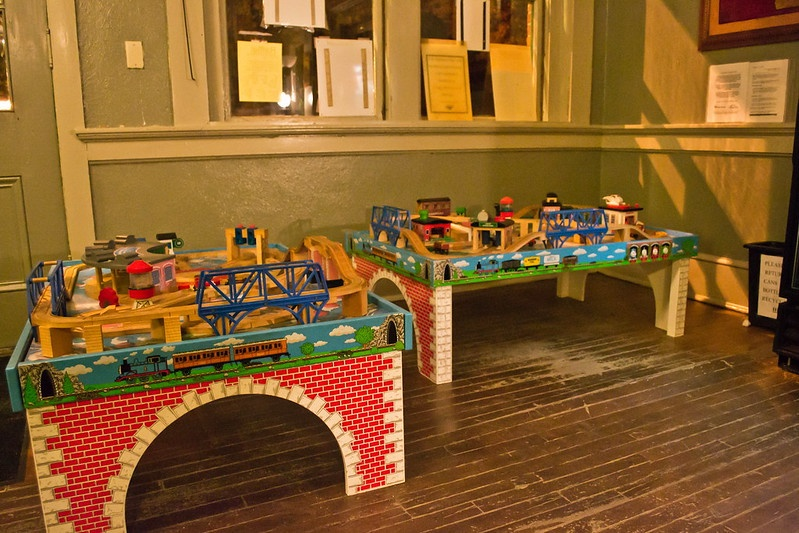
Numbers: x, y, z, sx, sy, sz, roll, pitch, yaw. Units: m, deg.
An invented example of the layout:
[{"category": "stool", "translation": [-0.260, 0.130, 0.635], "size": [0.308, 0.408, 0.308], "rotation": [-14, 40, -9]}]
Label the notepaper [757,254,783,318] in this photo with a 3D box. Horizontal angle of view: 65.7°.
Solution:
[{"category": "notepaper", "translation": [2.828, 0.162, 4.806], "size": [0.065, 0.503, 0.185], "rotation": [-16, 17, -42]}]
